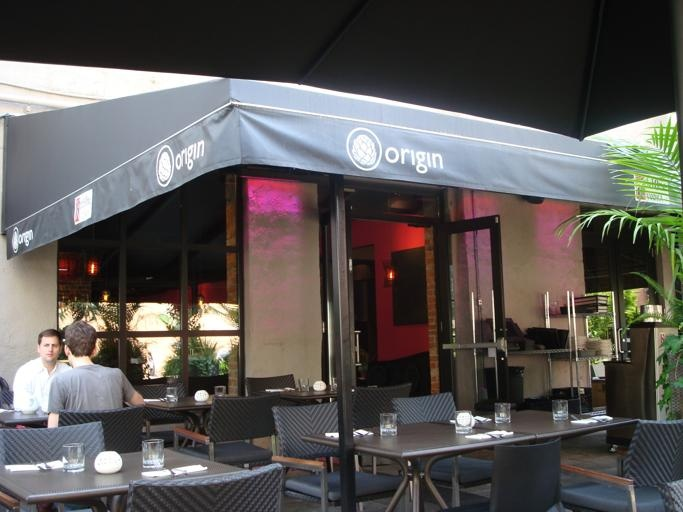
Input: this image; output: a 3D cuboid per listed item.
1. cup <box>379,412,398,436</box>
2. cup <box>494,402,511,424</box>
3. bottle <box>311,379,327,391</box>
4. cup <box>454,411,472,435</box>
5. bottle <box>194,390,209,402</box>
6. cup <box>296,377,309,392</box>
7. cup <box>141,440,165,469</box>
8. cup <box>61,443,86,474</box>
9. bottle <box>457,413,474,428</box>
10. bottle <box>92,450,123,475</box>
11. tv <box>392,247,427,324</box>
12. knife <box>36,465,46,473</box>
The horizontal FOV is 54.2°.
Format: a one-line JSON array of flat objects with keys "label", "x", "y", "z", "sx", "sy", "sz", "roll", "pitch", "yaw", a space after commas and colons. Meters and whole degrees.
[{"label": "cup", "x": 0.315, "y": 1.136, "z": 4.602, "sx": 0.140, "sy": 0.216, "sz": 0.148, "roll": 1, "pitch": -6, "yaw": 0}, {"label": "cup", "x": 1.211, "y": 1.134, "z": 4.924, "sx": 0.148, "sy": 0.186, "sz": 0.157, "roll": 1, "pitch": -4, "yaw": 0}, {"label": "bottle", "x": -0.237, "y": 1.427, "z": 7.449, "sx": 0.152, "sy": 0.120, "sz": 0.159, "roll": 1, "pitch": -2, "yaw": 0}, {"label": "cup", "x": 0.843, "y": 1.153, "z": 4.647, "sx": 0.106, "sy": 0.141, "sz": 0.143, "roll": -2, "pitch": -9, "yaw": 17}, {"label": "bottle", "x": -1.374, "y": 1.349, "z": 6.510, "sx": 0.119, "sy": 0.093, "sz": 0.126, "roll": 1, "pitch": -5, "yaw": 0}, {"label": "cup", "x": -0.436, "y": 1.448, "z": 7.545, "sx": 0.154, "sy": 0.192, "sz": 0.162, "roll": 0, "pitch": -7, "yaw": 0}, {"label": "cup", "x": -1.045, "y": 1.080, "z": 3.689, "sx": 0.123, "sy": 0.160, "sz": 0.220, "roll": -2, "pitch": -6, "yaw": -18}, {"label": "cup", "x": -1.456, "y": 1.094, "z": 3.634, "sx": 0.121, "sy": 0.153, "sz": 0.131, "roll": -1, "pitch": -7, "yaw": 0}, {"label": "bottle", "x": 0.863, "y": 1.126, "z": 4.656, "sx": 0.090, "sy": 0.108, "sz": 0.101, "roll": 2, "pitch": -5, "yaw": -34}, {"label": "bottle", "x": -1.255, "y": 1.097, "z": 3.615, "sx": 0.103, "sy": 0.098, "sz": 0.134, "roll": 3, "pitch": -3, "yaw": -2}, {"label": "tv", "x": 1.303, "y": 0.547, "z": 12.594, "sx": 0.163, "sy": 1.810, "sz": 1.266, "roll": 1, "pitch": -4, "yaw": -26}, {"label": "knife", "x": -1.669, "y": 1.164, "z": 3.707, "sx": 0.043, "sy": 0.022, "sz": 0.109, "roll": -1, "pitch": -6, "yaw": -30}]
